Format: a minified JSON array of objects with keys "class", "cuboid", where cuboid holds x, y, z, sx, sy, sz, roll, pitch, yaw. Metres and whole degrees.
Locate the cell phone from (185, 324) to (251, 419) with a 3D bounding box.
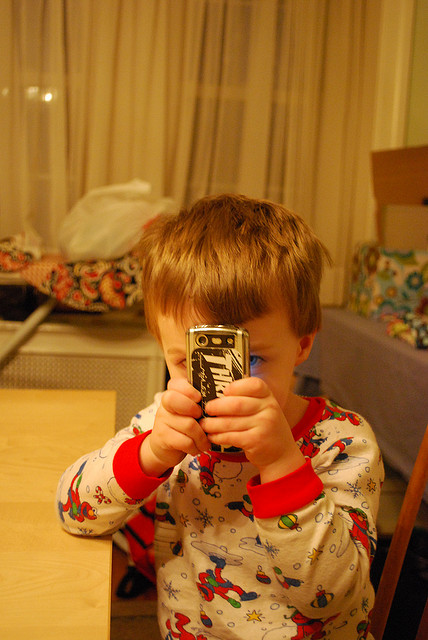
[{"class":"cell phone","cuboid":[0.002,0.050,0.425,0.049,0.092,0.012,5,-32,-10]}]
